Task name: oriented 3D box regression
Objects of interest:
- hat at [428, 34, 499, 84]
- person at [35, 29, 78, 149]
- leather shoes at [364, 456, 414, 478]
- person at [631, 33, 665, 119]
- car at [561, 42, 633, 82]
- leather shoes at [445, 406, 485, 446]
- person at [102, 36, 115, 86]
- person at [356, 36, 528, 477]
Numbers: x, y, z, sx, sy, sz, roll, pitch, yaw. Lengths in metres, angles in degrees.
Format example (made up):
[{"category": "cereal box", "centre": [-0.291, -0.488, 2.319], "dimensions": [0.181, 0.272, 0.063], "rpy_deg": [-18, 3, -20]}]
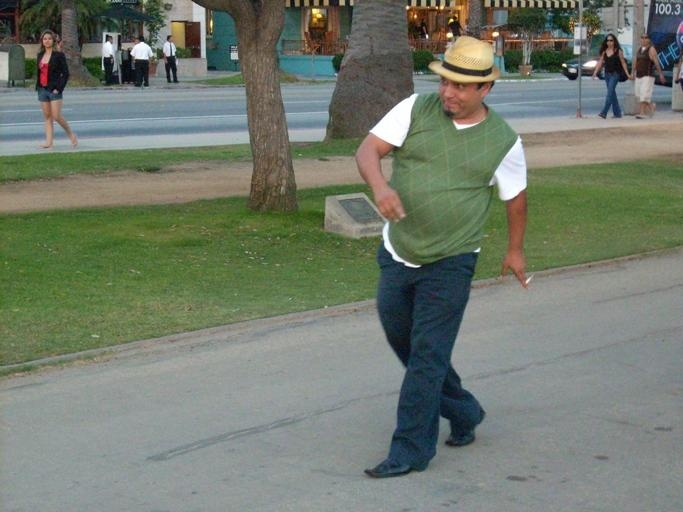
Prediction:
[{"category": "hat", "centre": [0.987, -1.473, 9.701], "dimensions": [0.383, 0.160, 0.436], "rpy_deg": [26, 25, 25]}, {"category": "person", "centre": [-4.828, -2.790, 21.643], "dimensions": [0.555, 2.027, 0.973], "rpy_deg": [-6, 14, -12]}, {"category": "leather shoes", "centre": [0.371, 1.614, 9.859], "dimensions": [0.275, 0.094, 0.171], "rpy_deg": [2, -4, -20]}, {"category": "person", "centre": [7.062, -4.177, 29.678], "dimensions": [0.577, 1.992, 1.329], "rpy_deg": [0, 14, 12]}, {"category": "car", "centre": [9.606, -7.531, 49.464], "dimensions": [1.444, 1.019, 3.237], "rpy_deg": [6, 10, 44]}, {"category": "leather shoes", "centre": [1.050, 1.407, 10.370], "dimensions": [0.164, 0.190, 0.477], "rpy_deg": [4, 5, 34]}, {"category": "person", "centre": [-7.401, -6.312, 41.168], "dimensions": [0.372, 1.578, 0.967], "rpy_deg": [-5, 14, -8]}, {"category": "person", "centre": [0.763, -0.006, 9.849], "dimensions": [1.311, 3.263, 0.661], "rpy_deg": [-5, 14, -9]}]
